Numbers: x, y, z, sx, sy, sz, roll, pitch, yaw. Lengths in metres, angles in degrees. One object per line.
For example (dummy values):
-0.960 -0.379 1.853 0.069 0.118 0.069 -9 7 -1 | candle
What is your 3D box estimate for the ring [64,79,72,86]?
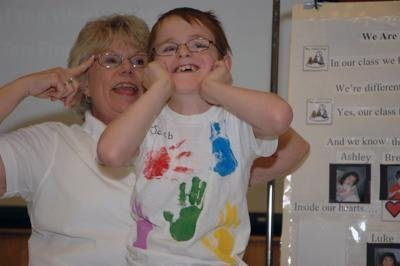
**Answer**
-0.734 -0.281 2.917 0.034 0.033 0.011 4 -38 -19 | ring
